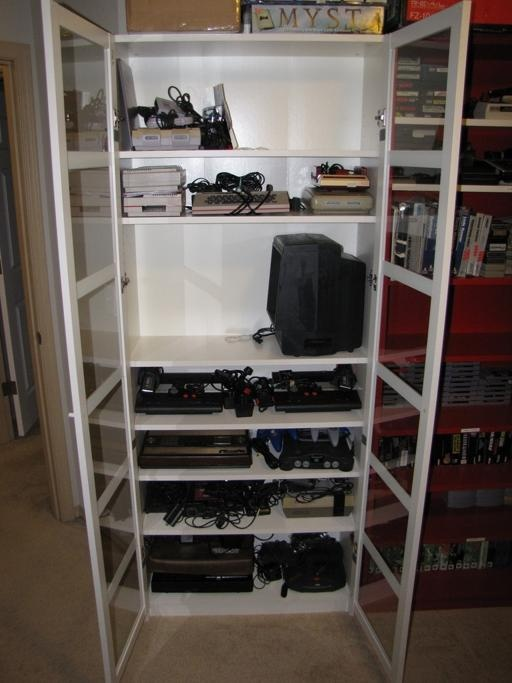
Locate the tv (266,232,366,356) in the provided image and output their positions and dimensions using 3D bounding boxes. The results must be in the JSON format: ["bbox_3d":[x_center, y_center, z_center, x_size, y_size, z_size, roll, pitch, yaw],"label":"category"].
[{"bbox_3d":[0.226,-0.215,2.247,0.382,0.441,0.460,0,19,1],"label":"tv"}]
